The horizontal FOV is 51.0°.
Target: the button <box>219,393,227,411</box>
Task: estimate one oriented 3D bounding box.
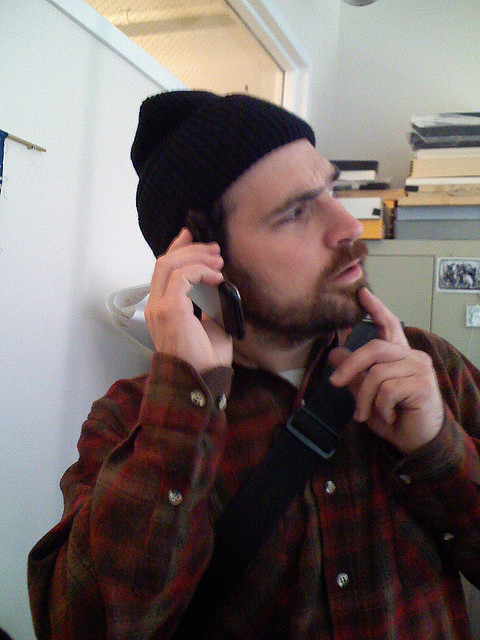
[{"bbox_3d":[-0.029,0.140,0.840,0.005,0.025,0.013,3,-6,36],"label":"button"}]

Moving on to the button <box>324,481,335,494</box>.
[{"bbox_3d":[0.153,0.289,0.861,0.015,0.010,0.013,3,1,0],"label":"button"}]

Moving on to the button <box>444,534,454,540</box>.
[{"bbox_3d":[0.332,0.349,0.807,0.003,0.009,0.012,-2,4,-36],"label":"button"}]

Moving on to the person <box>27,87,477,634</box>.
[{"bbox_3d":[0.028,0.048,0.925,0.738,0.930,0.477,3,8,0],"label":"person"}]

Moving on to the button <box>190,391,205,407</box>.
[{"bbox_3d":[-0.067,0.126,0.796,0.021,0.024,0.007,2,8,-5],"label":"button"}]

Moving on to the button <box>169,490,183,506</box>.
[{"bbox_3d":[-0.098,0.274,0.771,0.020,0.021,0.007,1,8,-12],"label":"button"}]

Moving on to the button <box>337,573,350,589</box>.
[{"bbox_3d":[0.162,0.413,0.793,0.019,0.018,0.012,5,9,10],"label":"button"}]
